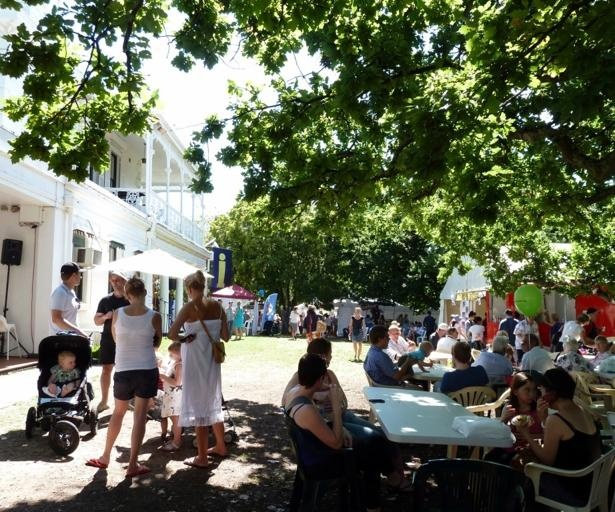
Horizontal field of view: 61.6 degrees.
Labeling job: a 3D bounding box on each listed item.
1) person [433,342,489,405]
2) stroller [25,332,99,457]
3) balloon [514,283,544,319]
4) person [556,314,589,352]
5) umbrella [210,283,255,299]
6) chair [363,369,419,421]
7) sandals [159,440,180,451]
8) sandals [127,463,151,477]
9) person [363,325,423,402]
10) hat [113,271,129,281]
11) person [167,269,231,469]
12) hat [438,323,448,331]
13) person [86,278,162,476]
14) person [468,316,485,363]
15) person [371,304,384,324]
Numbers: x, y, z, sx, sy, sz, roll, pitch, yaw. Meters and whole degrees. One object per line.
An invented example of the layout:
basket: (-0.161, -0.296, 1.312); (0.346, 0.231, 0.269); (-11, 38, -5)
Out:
person: (2.014, 1.494, 6.890); (0.660, 0.804, 0.692); (-2, -1, 4)
stroller: (-3.039, 1.688, 6.474); (0.783, 1.161, 1.511); (3, -11, -13)
balloon: (5.226, 1.034, 12.243); (0.598, 0.741, 0.559); (0, -5, 19)
person: (6.457, 1.911, 12.596); (0.651, 0.485, 1.147); (-4, -30, -3)
umbrella: (-3.720, 1.758, 25.724); (2.069, 0.894, 2.058); (2, -6, -10)
chair: (1.240, 1.975, 7.425); (0.588, 0.805, 0.569); (-1, -1, 0)
sandals: (-1.717, 2.382, 6.460); (0.101, 0.077, 0.197); (5, -16, 46)
sandals: (-1.816, 2.308, 5.564); (0.109, 0.086, 0.210); (1, 1, 38)
person: (1.856, 2.079, 10.215); (0.784, 1.396, 0.632); (-7, 1, -6)
hat: (-2.786, 0.309, 7.702); (0.282, 0.128, 0.321); (3, -4, 14)
person: (-1.239, 1.285, 5.819); (0.648, 2.176, 0.307); (3, -5, -16)
hat: (3.410, 1.767, 12.943); (0.204, 0.219, 0.267); (5, -13, -6)
person: (-1.953, 1.293, 5.690); (0.603, 2.128, 0.448); (2, -5, -3)
person: (4.603, 2.365, 14.284); (0.479, 1.446, 0.429); (1, 14, 7)
person: (4.811, 4.092, 36.025); (0.774, 0.591, 1.810); (-8, 37, 10)
